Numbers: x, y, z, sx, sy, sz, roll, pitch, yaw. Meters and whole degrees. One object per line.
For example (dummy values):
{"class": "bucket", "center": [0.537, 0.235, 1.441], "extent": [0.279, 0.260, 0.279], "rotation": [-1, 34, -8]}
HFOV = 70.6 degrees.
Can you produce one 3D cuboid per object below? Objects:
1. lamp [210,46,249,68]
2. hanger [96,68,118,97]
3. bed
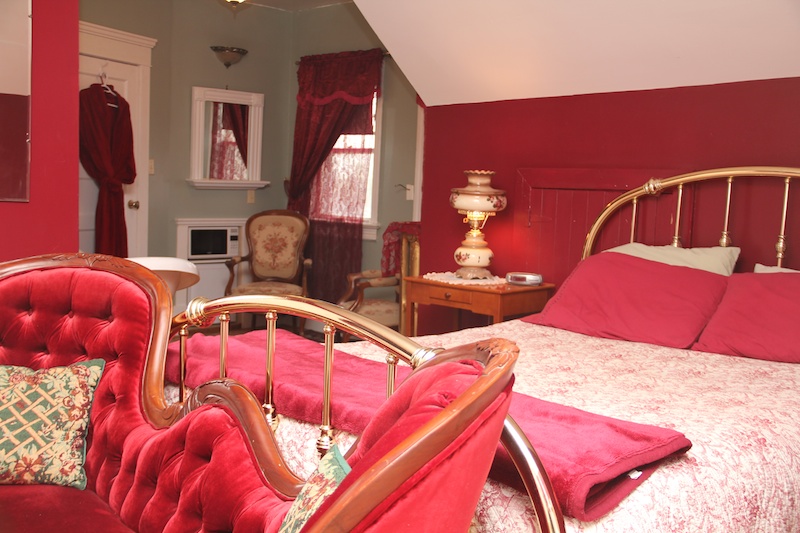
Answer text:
{"class": "lamp", "center": [-1.713, -2.086, 5.667], "extent": [0.322, 0.192, 0.185], "rotation": [-3, 13, -26]}
{"class": "hanger", "center": [-2.506, -1.574, 4.874], "extent": [0.044, 0.203, 0.150], "rotation": [8, 13, 26]}
{"class": "bed", "center": [1.013, 0.231, 3.582], "extent": [2.175, 1.435, 1.644], "rotation": [-2, 8, -39]}
